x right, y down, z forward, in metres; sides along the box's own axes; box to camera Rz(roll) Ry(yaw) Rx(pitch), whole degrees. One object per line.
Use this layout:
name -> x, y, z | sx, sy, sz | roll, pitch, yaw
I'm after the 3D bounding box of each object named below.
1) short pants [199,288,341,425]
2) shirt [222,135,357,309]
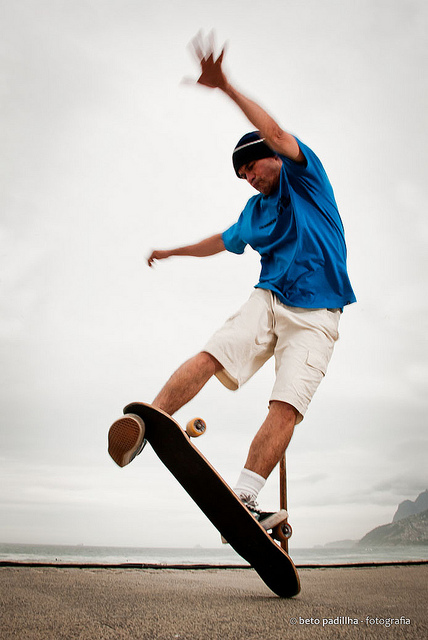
short pants -> 0.332, 0.034, 3.493 | 0.579, 0.796, 0.274 | 18, 25, 5
shirt -> 0.388, -0.426, 3.637 | 0.517, 0.787, 0.497 | -9, -15, 43
